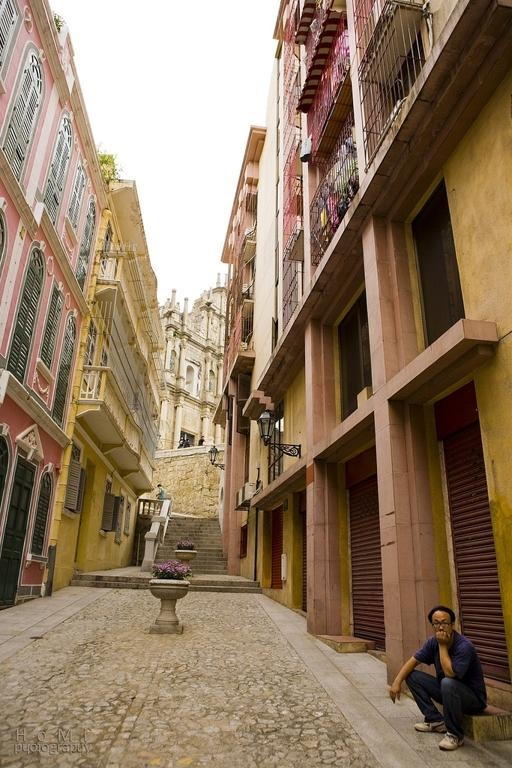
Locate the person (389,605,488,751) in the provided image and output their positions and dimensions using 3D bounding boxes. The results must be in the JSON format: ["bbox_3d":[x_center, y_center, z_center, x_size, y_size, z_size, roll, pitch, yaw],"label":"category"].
[{"bbox_3d":[1.312,2.009,3.098,0.430,0.858,0.495,9,-23,-4],"label":"person"}]

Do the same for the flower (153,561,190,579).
[{"bbox_3d":[-1.541,3.365,8.008,0.605,0.336,0.731,4,-24,-5],"label":"flower"}]

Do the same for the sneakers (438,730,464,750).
[{"bbox_3d":[1.253,2.301,2.865,0.070,0.111,0.231,-19,-43,24],"label":"sneakers"}]

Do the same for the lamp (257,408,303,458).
[{"bbox_3d":[0.561,1.238,10.962,0.995,1.475,0.455,-4,-31,4],"label":"lamp"}]

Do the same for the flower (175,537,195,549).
[{"bbox_3d":[-2.541,5.750,15.835,0.561,0.383,0.784,9,-25,-16],"label":"flower"}]
